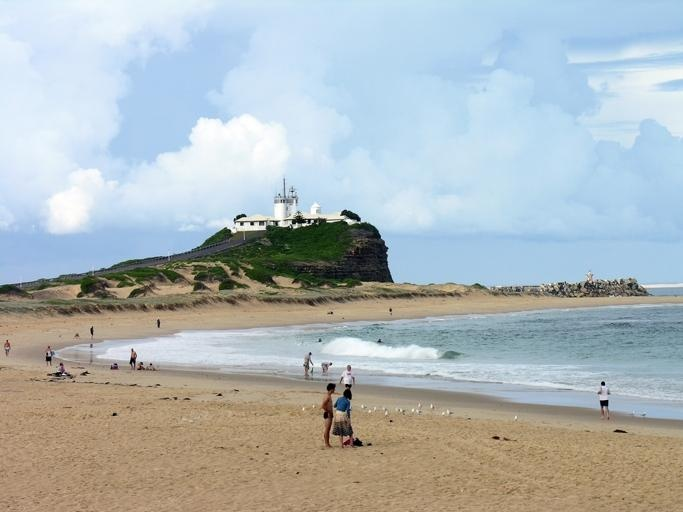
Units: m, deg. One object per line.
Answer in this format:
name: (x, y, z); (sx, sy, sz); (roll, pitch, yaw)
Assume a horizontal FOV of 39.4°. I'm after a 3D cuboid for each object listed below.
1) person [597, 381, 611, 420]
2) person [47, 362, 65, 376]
person: (10.454, 5.598, 37.889); (0.478, 1.426, 1.555); (1, 4, 15)
person: (-12.972, 5.218, 43.846); (0.814, 0.399, 0.760); (3, -5, -34)
